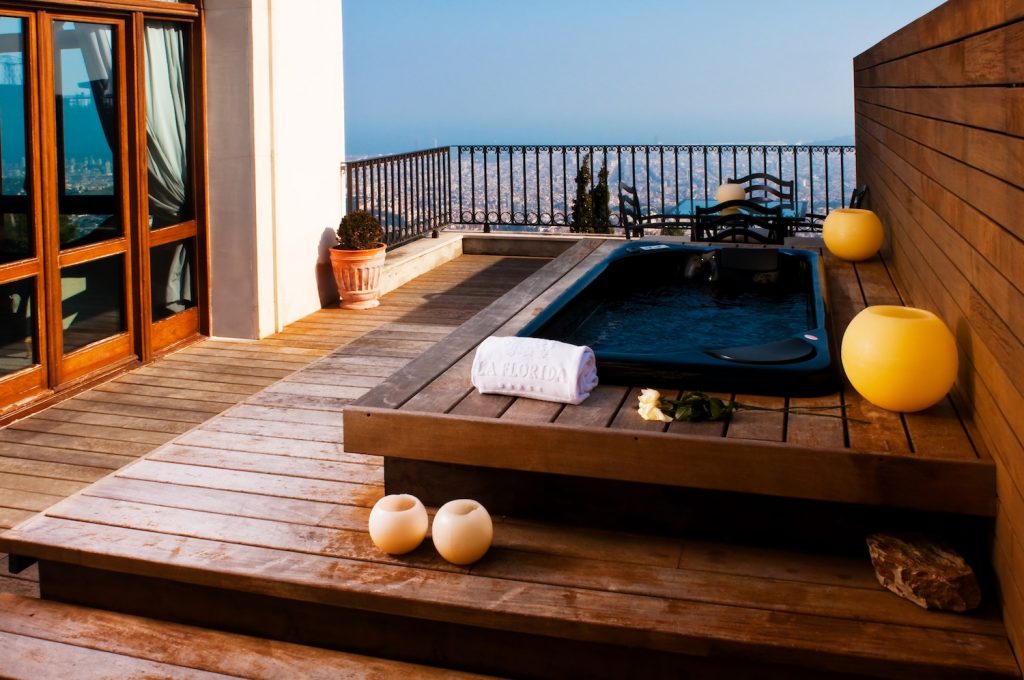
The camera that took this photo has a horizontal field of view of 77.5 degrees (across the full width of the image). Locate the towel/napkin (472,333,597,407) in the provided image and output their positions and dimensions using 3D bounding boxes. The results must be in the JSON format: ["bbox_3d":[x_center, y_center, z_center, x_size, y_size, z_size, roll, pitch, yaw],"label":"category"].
[{"bbox_3d":[0.068,0.099,2.282,0.369,0.119,0.251,3,20,12],"label":"towel/napkin"}]

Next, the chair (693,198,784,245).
[{"bbox_3d":[1.780,-0.896,4.919,0.639,0.339,0.719,8,22,26],"label":"chair"}]

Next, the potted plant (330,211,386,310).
[{"bbox_3d":[-1.392,-0.724,5.768,0.475,0.847,0.391,-11,24,-19],"label":"potted plant"}]
